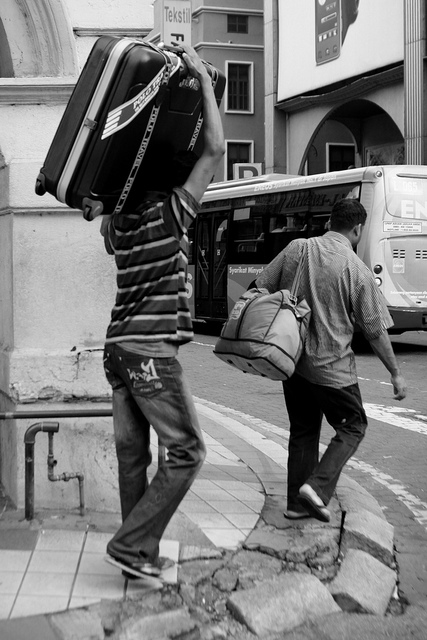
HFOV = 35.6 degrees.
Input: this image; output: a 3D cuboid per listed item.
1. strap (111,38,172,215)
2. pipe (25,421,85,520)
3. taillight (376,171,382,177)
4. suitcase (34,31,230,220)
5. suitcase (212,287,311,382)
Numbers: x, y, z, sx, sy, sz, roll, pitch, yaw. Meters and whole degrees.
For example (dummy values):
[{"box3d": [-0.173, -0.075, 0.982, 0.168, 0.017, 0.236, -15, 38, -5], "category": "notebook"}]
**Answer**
[{"box3d": [-0.265, -0.676, 2.389, 0.139, 0.674, 0.177, -6, 11, -34], "category": "strap"}, {"box3d": [-0.797, 0.759, 3.265, 0.282, 0.079, 0.523, 1, 50, -19], "category": "pipe"}, {"box3d": [3.362, -2.970, 13.324, 0.082, 0.102, 0.034, 2, 12, 9], "category": "taillight"}, {"box3d": [-0.306, -0.692, 2.431, 0.619, 0.684, 0.384, 5, -1, -17], "category": "suitcase"}, {"box3d": [0.255, 0.035, 3.566, 0.273, 0.549, 0.496, 30, -16, -32], "category": "suitcase"}]
